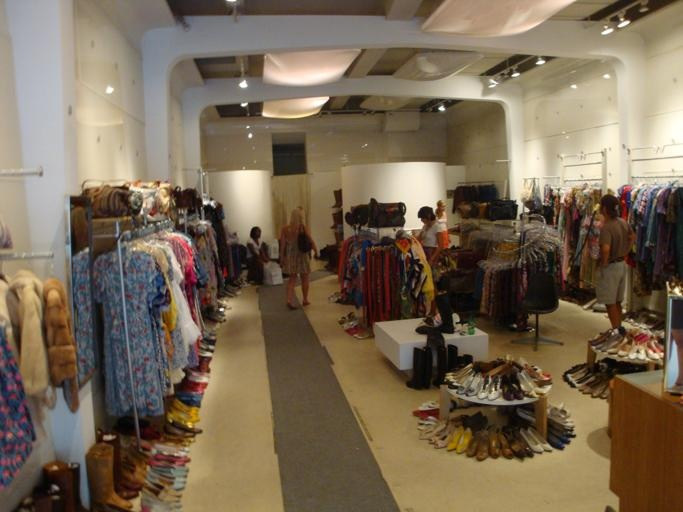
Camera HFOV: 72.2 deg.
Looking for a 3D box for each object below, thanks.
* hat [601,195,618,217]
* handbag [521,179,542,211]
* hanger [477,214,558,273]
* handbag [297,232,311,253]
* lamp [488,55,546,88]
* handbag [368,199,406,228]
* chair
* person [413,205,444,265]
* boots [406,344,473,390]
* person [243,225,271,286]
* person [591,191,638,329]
[{"bbox_3d":[3.389,-0.620,5.901,0.184,0.298,0.216,4,11,31],"label":"hat"},{"bbox_3d":[3.825,-1.226,9.368,0.363,0.640,0.837,2,10,21],"label":"handbag"},{"bbox_3d":[2.600,-0.184,6.616,0.936,0.408,0.699,-6,5,-37],"label":"hanger"},{"bbox_3d":[-0.641,-0.236,8.451,0.251,0.519,0.473,-4,5,-3],"label":"handbag"},{"bbox_3d":[3.331,-3.492,8.906,0.907,0.414,1.384,-2,10,-2],"label":"lamp"},{"bbox_3d":[0.696,-0.603,6.896,0.550,0.443,0.395,-1,1,-9],"label":"handbag"},{"bbox_3d":[2.592,0.676,6.249,0.820,1.248,0.844,1,3,21],"label":"chair"},{"bbox_3d":[1.415,-0.347,7.286,0.373,0.826,0.726,-2,9,-1],"label":"person"},{"bbox_3d":[1.084,1.120,4.998,0.569,0.439,0.489,-1,1,11],"label":"boots"},{"bbox_3d":[-1.981,-0.062,11.073,0.553,1.292,1.039,-3,9,-9],"label":"person"},{"bbox_3d":[3.482,0.065,5.982,0.372,1.681,0.541,7,13,44],"label":"person"}]
